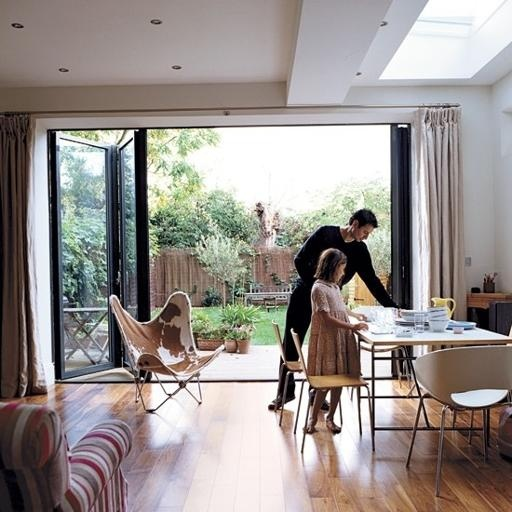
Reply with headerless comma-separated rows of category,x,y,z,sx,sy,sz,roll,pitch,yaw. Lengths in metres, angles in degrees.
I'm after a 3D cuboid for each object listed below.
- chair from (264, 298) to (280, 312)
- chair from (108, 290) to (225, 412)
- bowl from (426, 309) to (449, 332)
chair,0.324,0.995,8.937,0.232,0.405,0.276,0,4,6
chair,-0.759,0.809,3.895,0.810,1.140,0.973,5,-13,-33
bowl,1.152,0.401,2.728,0.121,0.168,0.137,0,-5,1
